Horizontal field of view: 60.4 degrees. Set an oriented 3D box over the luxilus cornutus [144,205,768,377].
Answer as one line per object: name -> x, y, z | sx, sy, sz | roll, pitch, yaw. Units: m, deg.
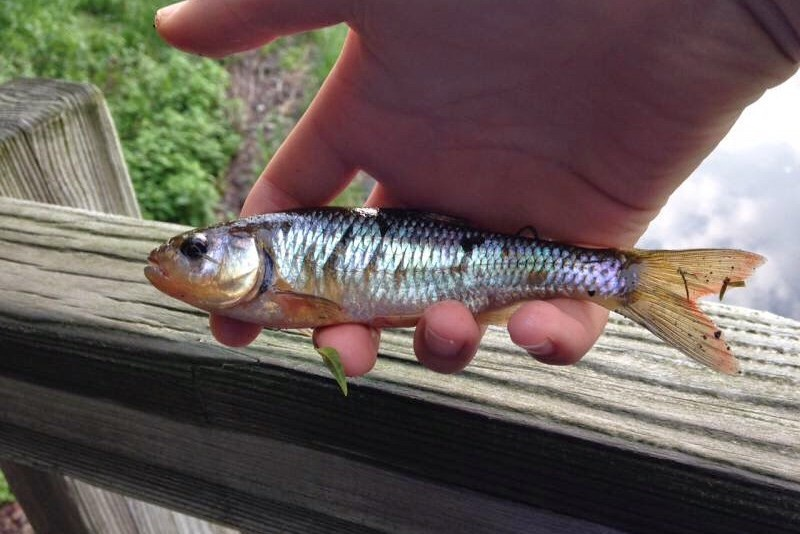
luxilus cornutus -> 0.155, 0.007, 2.688 | 2.257, 0.513, 0.507 | 9, 43, 0
